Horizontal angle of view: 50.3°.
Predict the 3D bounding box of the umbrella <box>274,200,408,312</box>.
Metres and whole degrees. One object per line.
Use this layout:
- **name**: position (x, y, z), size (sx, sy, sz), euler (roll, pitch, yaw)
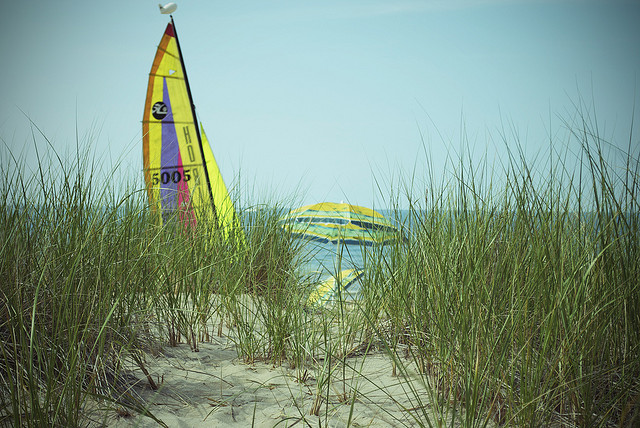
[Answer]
- **umbrella**: position (0.159, 0.138, 4.725), size (0.657, 0.883, 0.826), euler (2, -10, 1)
